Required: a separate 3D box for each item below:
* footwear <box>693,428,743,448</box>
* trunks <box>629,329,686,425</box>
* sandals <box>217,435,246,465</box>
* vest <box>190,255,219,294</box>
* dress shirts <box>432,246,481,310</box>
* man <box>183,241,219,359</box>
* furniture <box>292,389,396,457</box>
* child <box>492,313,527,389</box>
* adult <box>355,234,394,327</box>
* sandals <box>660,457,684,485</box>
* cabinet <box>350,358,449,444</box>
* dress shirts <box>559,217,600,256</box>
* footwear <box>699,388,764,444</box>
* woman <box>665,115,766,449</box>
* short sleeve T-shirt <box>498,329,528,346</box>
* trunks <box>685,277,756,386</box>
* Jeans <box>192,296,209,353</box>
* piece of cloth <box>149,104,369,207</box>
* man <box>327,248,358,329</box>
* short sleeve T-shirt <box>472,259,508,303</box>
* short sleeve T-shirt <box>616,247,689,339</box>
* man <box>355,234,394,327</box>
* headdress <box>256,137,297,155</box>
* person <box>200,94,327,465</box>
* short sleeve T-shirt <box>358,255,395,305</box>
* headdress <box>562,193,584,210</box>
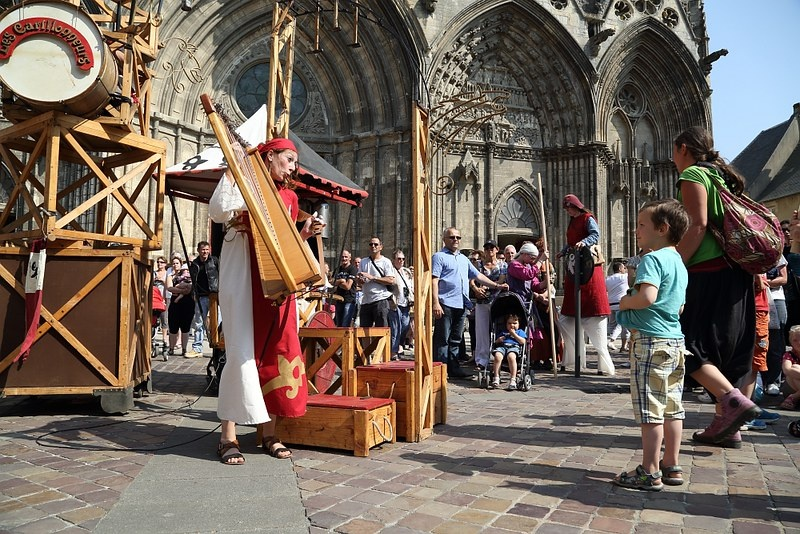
[{"bbox_3d":[3.568,1.974,8.567,0.538,0.232,0.211,3,-1,27],"label":"footwear"},{"bbox_3d":[2.537,1.099,7.544,0.508,0.864,0.445,3,9,15],"label":"trunks"},{"bbox_3d":[-1.799,1.968,8.114,0.317,0.217,0.218,0,9,0],"label":"sandals"},{"bbox_3d":[-3.208,0.126,12.597,0.499,0.625,0.377,-5,7,18],"label":"vest"},{"bbox_3d":[0.908,0.165,13.082,1.342,1.048,0.446,4,-8,-29],"label":"dress shirts"},{"bbox_3d":[-3.300,0.527,12.981,0.580,1.885,0.563,-3,6,-24],"label":"man"},{"bbox_3d":[-0.676,1.763,8.578,0.971,0.366,0.575,0,-5,23],"label":"furniture"},{"bbox_3d":[1.701,1.340,11.948,0.513,1.118,0.793,3,9,14],"label":"child"},{"bbox_3d":[-0.433,0.321,14.448,0.730,1.741,0.660,-1,9,-9],"label":"adult"},{"bbox_3d":[2.722,2.081,7.673,0.133,0.138,0.364,0,3,12],"label":"sandals"},{"bbox_3d":[-0.135,1.585,9.478,1.251,0.875,0.933,8,12,30],"label":"cabinet"},{"bbox_3d":[3.123,-0.567,13.196,0.581,0.667,0.598,2,9,12],"label":"dress shirts"},{"bbox_3d":[3.586,1.658,8.339,0.335,0.544,0.893,-21,-13,-21],"label":"footwear"},{"bbox_3d":[3.430,0.177,8.664,1.369,3.515,1.219,2,1,34],"label":"woman"},{"bbox_3d":[1.759,1.132,12.005,0.395,0.250,0.246,-7,-39,29],"label":"short sleeve T-shirt"},{"bbox_3d":[3.443,0.678,8.247,0.739,1.377,1.060,-2,-9,44],"label":"trunks"},{"bbox_3d":[-4.201,1.173,15.912,0.329,1.254,0.366,-7,-18,0],"label":"Jeans"},{"bbox_3d":[-2.480,-1.658,13.357,2.671,1.367,2.639,-2,-2,24],"label":"piece of cloth"},{"bbox_3d":[-1.194,0.639,15.844,0.599,1.902,0.622,1,3,-41],"label":"man"},{"bbox_3d":[1.618,0.268,13.654,0.831,1.020,0.563,0,-12,4],"label":"short sleeve T-shirt"},{"bbox_3d":[2.631,0.283,7.879,0.919,0.985,0.632,13,-10,-42],"label":"short sleeve T-shirt"},{"bbox_3d":[-0.431,0.323,14.437,0.730,1.741,0.636,-1,9,-9],"label":"man"},{"bbox_3d":[-1.372,-1.350,8.429,0.293,0.149,0.226,0,4,-5],"label":"headdress"},{"bbox_3d":[-1.467,0.119,8.187,1.209,3.873,1.049,2,9,10],"label":"person"},{"bbox_3d":[-0.436,0.262,14.451,0.991,0.999,0.570,0,-4,13],"label":"short sleeve T-shirt"},{"bbox_3d":[3.099,-1.109,13.207,0.559,0.317,0.365,1,2,-1],"label":"headdress"}]
